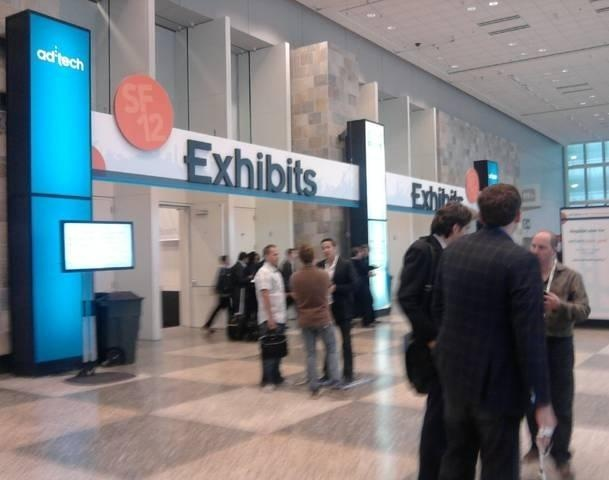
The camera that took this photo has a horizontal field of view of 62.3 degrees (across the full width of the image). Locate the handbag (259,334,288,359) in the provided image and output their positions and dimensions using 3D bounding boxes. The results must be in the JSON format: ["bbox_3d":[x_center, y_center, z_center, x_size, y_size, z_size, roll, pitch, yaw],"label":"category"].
[{"bbox_3d":[-0.364,1.248,5.904,0.269,0.200,0.275,-6,-12,27],"label":"handbag"}]

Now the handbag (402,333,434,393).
[{"bbox_3d":[0.640,0.700,2.824,0.095,0.286,0.202,3,22,11],"label":"handbag"}]

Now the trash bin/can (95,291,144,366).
[{"bbox_3d":[-2.718,1.346,7.356,0.597,0.975,0.245,0,-2,-30],"label":"trash bin/can"}]

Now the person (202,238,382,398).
[{"bbox_3d":[0.007,0.903,5.938,0.878,1.673,0.686,-2,-3,37],"label":"person"}]
